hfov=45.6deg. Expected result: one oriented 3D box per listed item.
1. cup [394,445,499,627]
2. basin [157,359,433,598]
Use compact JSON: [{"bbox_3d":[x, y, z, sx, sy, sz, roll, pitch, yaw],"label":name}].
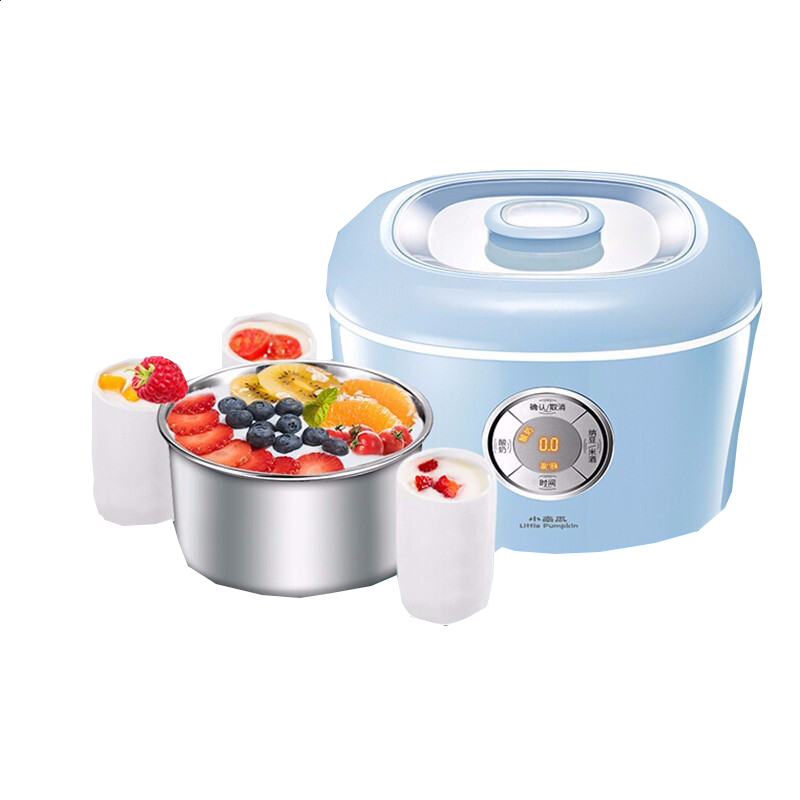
[{"bbox_3d":[0.116,0.343,2.300,0.223,0.421,0.234,-3,18,1],"label":"cup"},{"bbox_3d":[-0.300,0.180,2.502,0.726,0.299,0.559,1,26,-1],"label":"basin"}]
